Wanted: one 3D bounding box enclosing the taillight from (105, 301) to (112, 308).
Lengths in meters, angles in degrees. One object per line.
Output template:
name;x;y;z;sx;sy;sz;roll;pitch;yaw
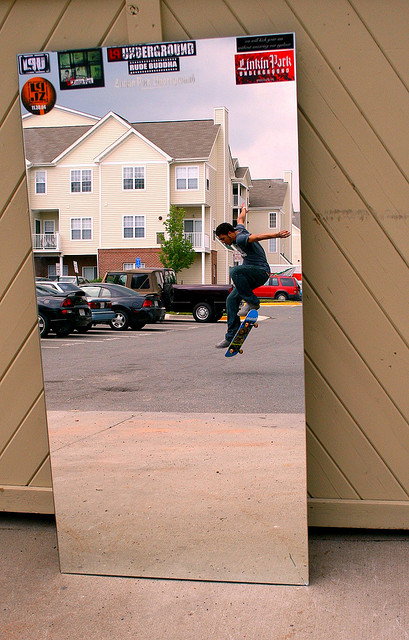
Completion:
taillight;-0.533;-0.086;4.032;0.051;0.027;0.049;-3;7;21

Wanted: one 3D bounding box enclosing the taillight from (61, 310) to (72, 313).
taillight;-0.691;-0.044;3.575;0.034;0.018;0.104;-1;6;5

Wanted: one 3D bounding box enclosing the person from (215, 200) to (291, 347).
person;0.220;-0.178;3.019;0.283;0.747;0.538;6;-9;-9

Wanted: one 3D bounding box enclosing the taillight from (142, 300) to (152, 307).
taillight;-0.274;-0.082;3.476;0.045;0.039;0.070;-2;6;0
